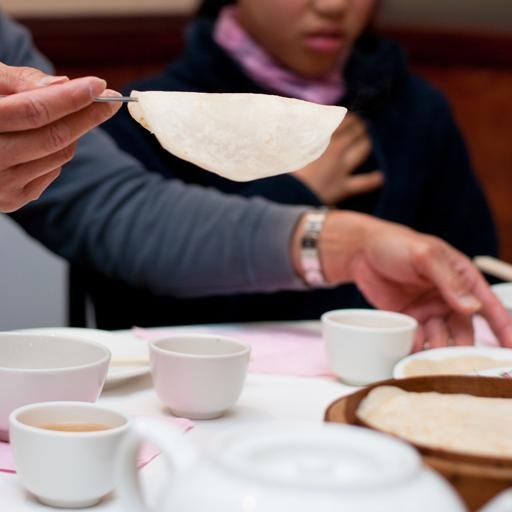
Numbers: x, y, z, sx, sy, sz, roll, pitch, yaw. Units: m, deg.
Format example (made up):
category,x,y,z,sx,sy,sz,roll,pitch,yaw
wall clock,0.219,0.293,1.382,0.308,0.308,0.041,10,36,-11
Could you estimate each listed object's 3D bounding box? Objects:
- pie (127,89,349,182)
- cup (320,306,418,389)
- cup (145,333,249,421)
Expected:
category,x,y,z,sx,sy,sz,roll,pitch,yaw
pie,-0.020,-0.086,0.467,0.115,0.030,0.086,-1,36,-2
cup,0.104,0.082,0.556,0.081,0.048,0.076,1,-4,0
cup,-0.043,0.097,0.479,0.075,0.056,0.077,-4,1,0
